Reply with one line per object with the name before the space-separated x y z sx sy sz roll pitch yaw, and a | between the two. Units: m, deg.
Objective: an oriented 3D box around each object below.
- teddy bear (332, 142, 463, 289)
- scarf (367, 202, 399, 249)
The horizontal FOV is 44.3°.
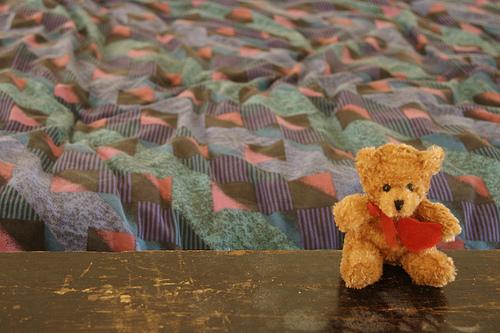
teddy bear | 0.411 0.140 1.747 0.369 0.361 0.257 2 24 7
scarf | 0.367 0.163 1.719 0.092 0.112 0.040 -4 17 -19
